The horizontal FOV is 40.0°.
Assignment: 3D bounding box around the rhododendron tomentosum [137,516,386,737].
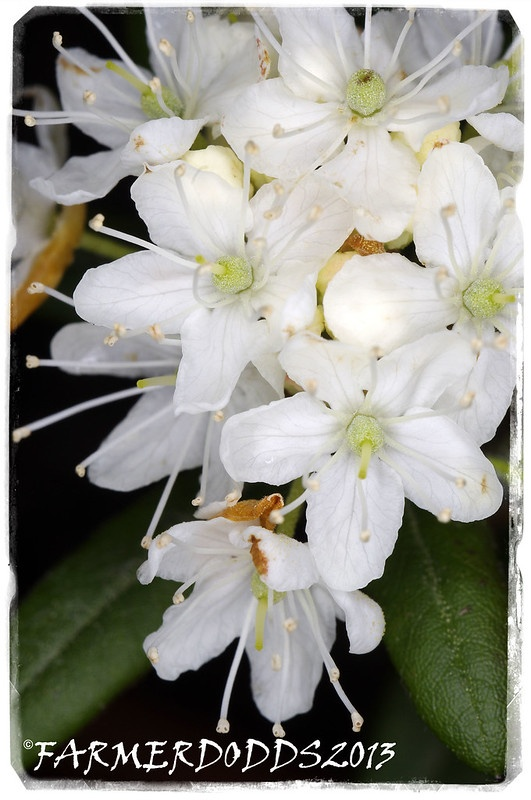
[{"bbox_3d":[-0.015,0.285,0.960,0.147,0.331,0.284,-36,40,21],"label":"rhododendron tomentosum"}]
